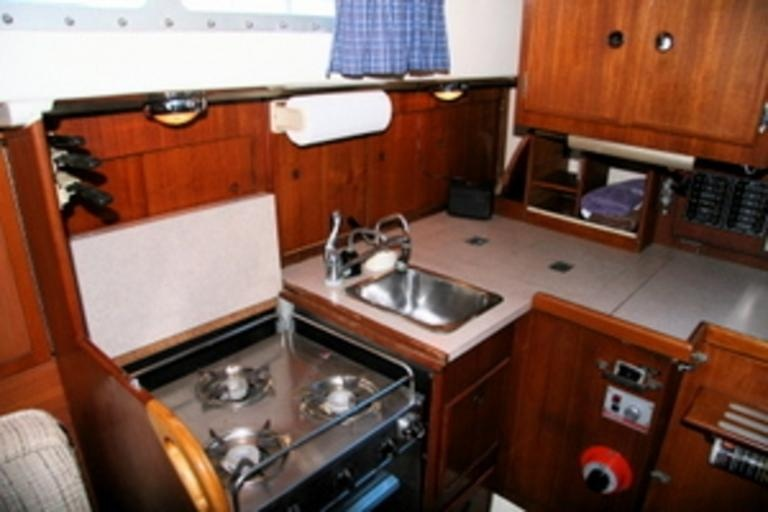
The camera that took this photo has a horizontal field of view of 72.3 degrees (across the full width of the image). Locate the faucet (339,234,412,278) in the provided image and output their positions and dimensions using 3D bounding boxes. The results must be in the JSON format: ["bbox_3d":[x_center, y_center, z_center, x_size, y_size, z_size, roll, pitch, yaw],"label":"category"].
[{"bbox_3d":[-0.052,-0.018,2.197,0.315,0.142,0.172,-9,29,-16],"label":"faucet"}]

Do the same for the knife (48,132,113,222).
[{"bbox_3d":[-0.923,-0.243,1.646,0.107,0.186,0.251,11,-20,-25],"label":"knife"}]

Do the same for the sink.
[{"bbox_3d":[0.157,0.218,2.089,0.526,0.214,0.355,17,32,31],"label":"sink"}]
